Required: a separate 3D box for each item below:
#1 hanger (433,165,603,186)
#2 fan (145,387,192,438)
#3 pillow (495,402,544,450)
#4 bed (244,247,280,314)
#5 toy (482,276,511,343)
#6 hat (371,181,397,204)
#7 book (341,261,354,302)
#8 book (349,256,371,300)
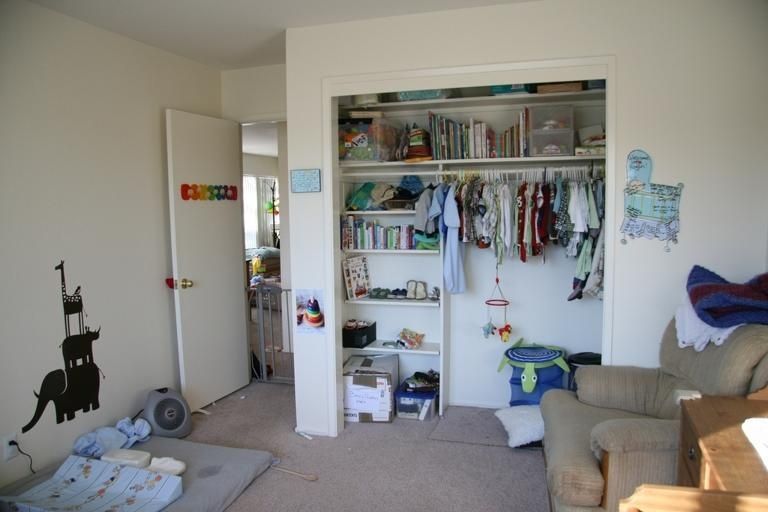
[{"bbox_3d":[1.232,-0.706,5.015,1.328,0.201,0.054,1,3,17],"label":"hanger"},{"bbox_3d":[-1.891,1.334,5.045,0.443,0.446,0.376,-2,5,-40],"label":"fan"},{"bbox_3d":[1.139,1.411,4.724,0.356,0.089,0.359,-12,19,-3],"label":"pillow"},{"bbox_3d":[-1.823,0.369,8.348,0.369,0.971,1.051,1,2,11],"label":"bed"},{"bbox_3d":[1.069,0.507,5.308,0.275,0.611,0.196,4,13,16],"label":"toy"},{"bbox_3d":[-0.012,-0.581,5.377,0.229,0.176,0.194,1,12,-1],"label":"hat"},{"bbox_3d":[-0.348,0.223,5.340,0.105,0.364,0.109,0,12,-3],"label":"book"},{"bbox_3d":[-0.251,0.219,5.442,0.073,0.526,0.388,-5,0,32],"label":"book"}]
